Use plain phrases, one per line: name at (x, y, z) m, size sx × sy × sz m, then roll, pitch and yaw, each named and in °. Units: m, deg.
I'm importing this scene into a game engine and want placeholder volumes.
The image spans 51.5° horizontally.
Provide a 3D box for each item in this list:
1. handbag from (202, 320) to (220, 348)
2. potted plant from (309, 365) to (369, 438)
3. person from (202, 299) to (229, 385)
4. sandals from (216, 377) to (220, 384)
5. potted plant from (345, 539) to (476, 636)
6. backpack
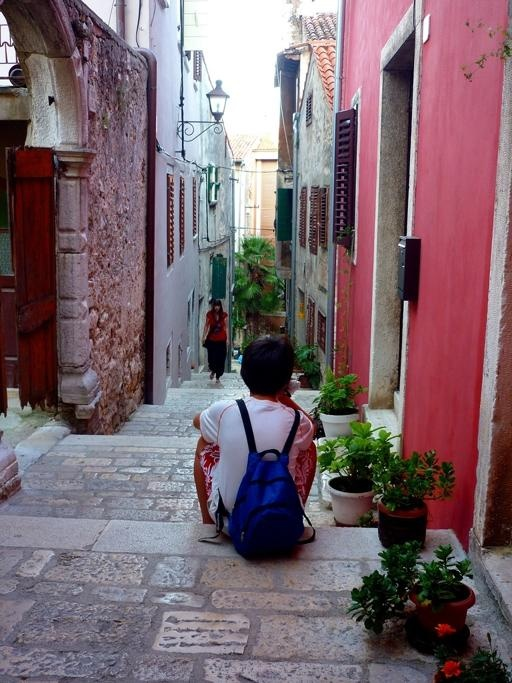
handbag at (-0.919, -0.172, 10.823) m, size 0.142 × 0.503 × 0.327 m, roll 7°, pitch 10°, yaw 5°
potted plant at (0.794, 0.572, 5.202) m, size 0.532 × 0.876 × 0.573 m, roll 0°, pitch -7°, yaw 12°
person at (-0.834, -0.021, 10.984) m, size 0.465 × 1.940 × 0.476 m, roll -4°, pitch 34°, yaw -10°
sandals at (-0.877, 0.902, 12.374) m, size 0.071 × 0.128 × 0.113 m, roll 2°, pitch 6°, yaw 6°
potted plant at (0.428, 0.624, 1.462) m, size 0.277 × 0.236 × 0.280 m, roll -10°, pitch 10°, yaw -33°
backpack at (-0.018, 0.522, 2.068) m, size 0.433 × 0.612 × 0.562 m, roll 3°, pitch -10°, yaw -7°
